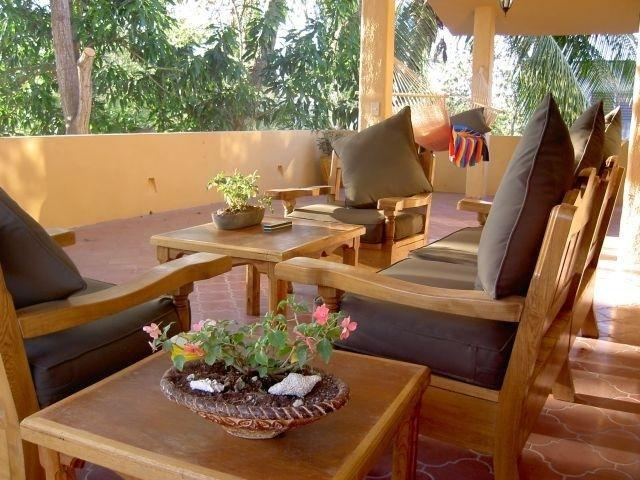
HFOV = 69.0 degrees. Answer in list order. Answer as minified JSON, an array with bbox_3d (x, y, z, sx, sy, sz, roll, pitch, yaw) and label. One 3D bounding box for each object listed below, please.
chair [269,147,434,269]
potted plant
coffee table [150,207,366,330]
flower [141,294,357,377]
[{"bbox_3d":[0.268,-0.121,3.444,0.972,1.229,0.978,4,12,19],"label":"chair"},{"bbox_3d":[-0.484,-0.237,2.776,0.291,0.359,0.418,4,9,18],"label":"potted plant"},{"bbox_3d":[-0.254,0.004,2.580,0.761,0.580,0.750,4,8,30],"label":"coffee table"},{"bbox_3d":[-0.197,0.264,1.292,0.418,0.154,0.261,-9,11,-5],"label":"flower"}]
